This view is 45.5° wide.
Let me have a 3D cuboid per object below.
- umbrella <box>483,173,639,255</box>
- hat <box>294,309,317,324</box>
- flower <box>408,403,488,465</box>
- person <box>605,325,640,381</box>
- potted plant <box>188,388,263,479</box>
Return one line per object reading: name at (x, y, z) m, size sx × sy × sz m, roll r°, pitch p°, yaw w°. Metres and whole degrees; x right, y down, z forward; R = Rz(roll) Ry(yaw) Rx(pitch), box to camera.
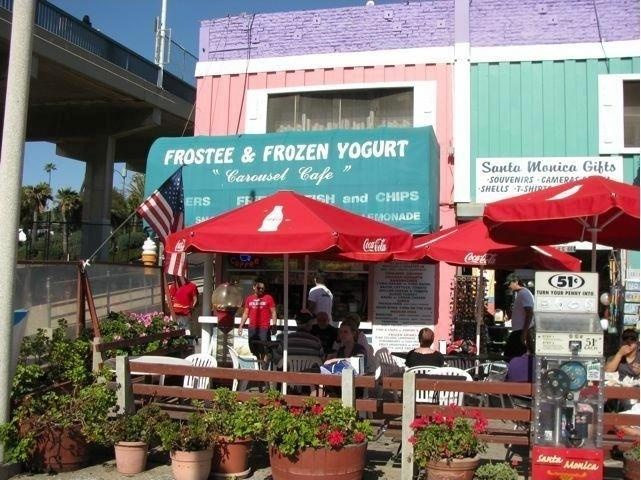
umbrella at (3.448, -0.343, 10.720) m, size 1.482 × 0.553 × 1.488 m, roll 8°, pitch -8°, yaw -37°
hat at (-0.285, 1.366, 13.637) m, size 0.240 × 0.213 × 0.357 m, roll -4°, pitch -7°, yaw 1°
flower at (1.604, 2.465, 9.550) m, size 0.778 × 0.611 × 0.806 m, roll -2°, pitch 5°, yaw -16°
person at (4.450, 1.709, 11.257) m, size 0.458 × 0.668 × 1.032 m, roll -2°, pitch -5°, yaw 23°
potted plant at (-1.213, 2.561, 10.333) m, size 1.001 × 1.243 × 0.951 m, roll 1°, pitch -9°, yaw -6°
